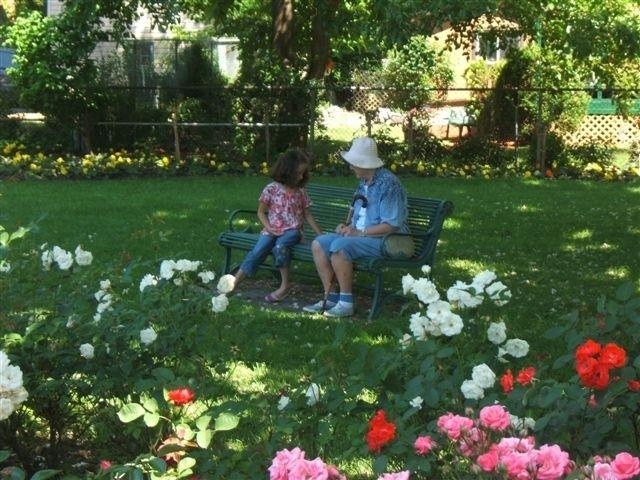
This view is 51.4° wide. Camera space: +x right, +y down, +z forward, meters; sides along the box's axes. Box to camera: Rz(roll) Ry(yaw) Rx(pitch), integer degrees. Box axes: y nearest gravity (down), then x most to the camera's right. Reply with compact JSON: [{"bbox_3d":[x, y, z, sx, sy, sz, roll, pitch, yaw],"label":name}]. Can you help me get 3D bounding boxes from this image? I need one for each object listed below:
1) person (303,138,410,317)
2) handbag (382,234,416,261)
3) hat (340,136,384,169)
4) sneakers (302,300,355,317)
[{"bbox_3d":[0.338,-0.140,5.962,0.944,1.545,0.674,0,9,-13],"label":"person"},{"bbox_3d":[0.701,0.049,5.847,0.208,0.157,0.226,4,4,19],"label":"handbag"},{"bbox_3d":[0.401,-0.789,6.138,0.273,0.183,0.328,13,16,-3],"label":"hat"},{"bbox_3d":[0.072,0.575,5.843,0.415,0.135,0.260,11,13,42],"label":"sneakers"}]
